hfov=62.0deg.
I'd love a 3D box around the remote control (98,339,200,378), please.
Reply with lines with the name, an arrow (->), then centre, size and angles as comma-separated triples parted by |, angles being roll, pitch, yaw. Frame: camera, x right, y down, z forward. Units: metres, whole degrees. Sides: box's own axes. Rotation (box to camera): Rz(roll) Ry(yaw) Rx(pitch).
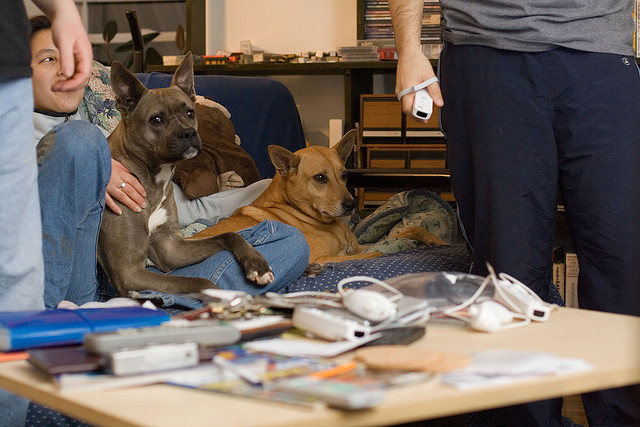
remote control -> -0.244, 0.211, 0.762 | 0.136, 0.038, 0.032 | -1, 10, -18

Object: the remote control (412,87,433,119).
remote control -> 0.309, -0.332, 1.604 | 0.055, 0.087, 0.061 | 3, 10, 7

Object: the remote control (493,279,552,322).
remote control -> 0.394, 0.172, 1.054 | 0.116, 0.055, 0.073 | 7, 11, 31

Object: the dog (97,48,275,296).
dog -> -0.665, -0.135, 2.094 | 1.126, 0.879, 0.406 | 19, 19, 35

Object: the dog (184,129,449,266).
dog -> -0.210, -0.024, 3.041 | 1.710, 0.733, 0.642 | -4, 4, 34

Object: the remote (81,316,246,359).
remote -> -0.250, 0.200, 0.844 | 0.266, 0.039, 0.124 | 7, 5, -21
